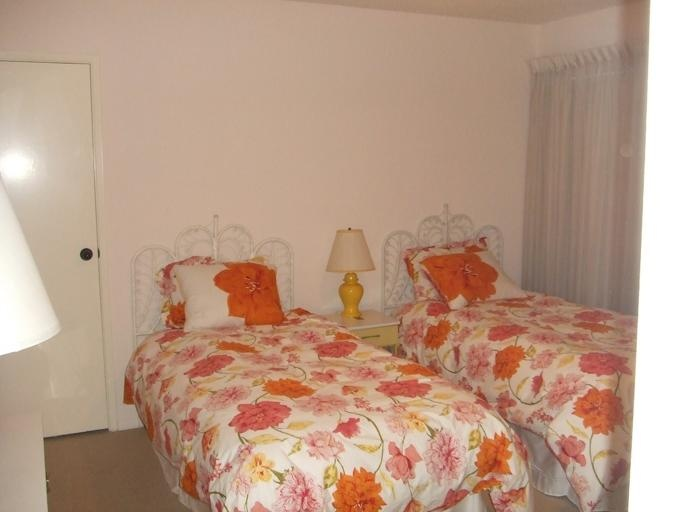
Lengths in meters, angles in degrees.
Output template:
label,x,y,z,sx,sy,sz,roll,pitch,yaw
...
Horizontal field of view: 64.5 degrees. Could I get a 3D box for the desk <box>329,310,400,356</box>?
label,x,y,z,sx,sy,sz,roll,pitch,yaw
desk,0.170,0.503,3.937,0.365,0.309,0.349,-7,14,-30

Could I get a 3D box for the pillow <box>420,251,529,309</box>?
label,x,y,z,sx,sy,sz,roll,pitch,yaw
pillow,0.965,0.162,3.922,0.508,0.147,0.506,-3,36,-26
